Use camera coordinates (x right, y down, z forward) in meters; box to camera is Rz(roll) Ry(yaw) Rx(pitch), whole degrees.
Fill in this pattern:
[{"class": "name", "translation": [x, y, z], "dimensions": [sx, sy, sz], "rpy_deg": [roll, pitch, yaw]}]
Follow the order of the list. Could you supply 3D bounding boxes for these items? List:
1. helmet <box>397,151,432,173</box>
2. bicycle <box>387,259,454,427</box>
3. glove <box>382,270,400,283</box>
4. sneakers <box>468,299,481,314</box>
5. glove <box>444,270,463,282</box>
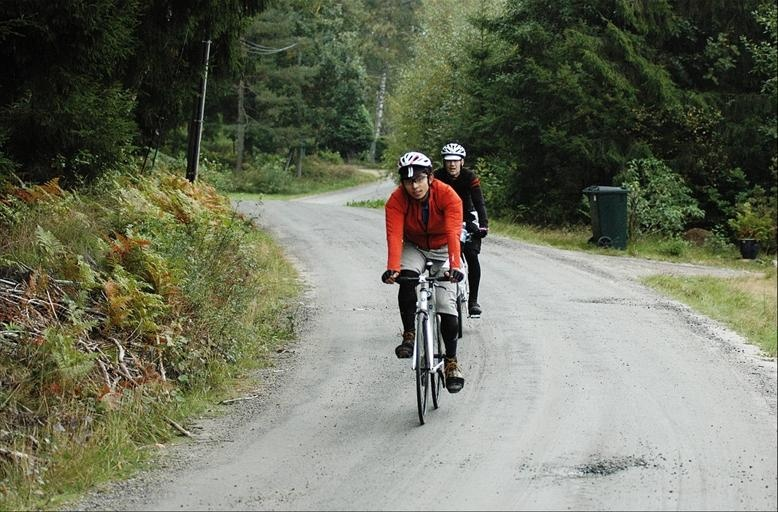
[{"class": "helmet", "translation": [0.333, -1.234, 10.069], "dimensions": [0.389, 0.222, 0.502], "rpy_deg": [1, 13, 6]}, {"class": "bicycle", "translation": [0.461, 1.098, 10.099], "dimensions": [0.540, 1.786, 1.530], "rpy_deg": [3, 12, 17]}, {"class": "glove", "translation": [0.021, 0.274, 10.015], "dimensions": [0.217, 0.200, 0.276], "rpy_deg": [0, 13, -1]}, {"class": "sneakers", "translation": [1.418, 0.877, 12.903], "dimensions": [0.190, 0.183, 0.261], "rpy_deg": [-1, 13, -2]}, {"class": "glove", "translation": [0.831, 0.268, 10.023], "dimensions": [0.239, 0.213, 0.230], "rpy_deg": [0, 12, 3]}]
